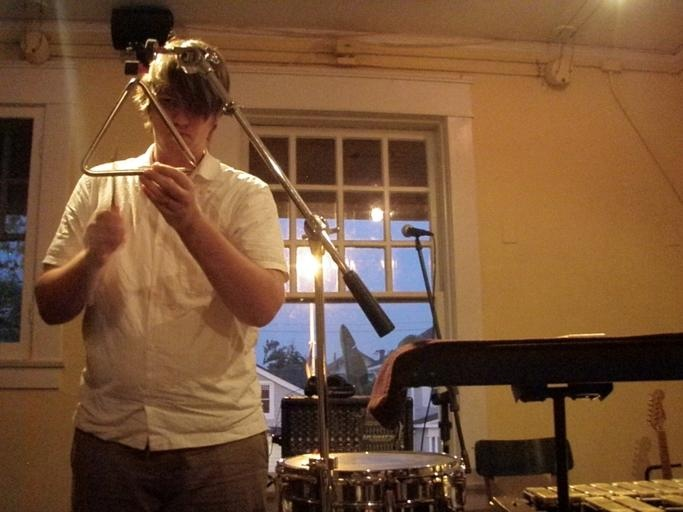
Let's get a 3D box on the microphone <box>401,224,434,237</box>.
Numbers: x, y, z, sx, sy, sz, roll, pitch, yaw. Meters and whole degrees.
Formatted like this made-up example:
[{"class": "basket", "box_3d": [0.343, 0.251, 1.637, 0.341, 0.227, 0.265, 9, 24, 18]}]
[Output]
[{"class": "microphone", "box_3d": [0.450, -0.135, 4.162, 0.236, 0.082, 0.082, 3, -1, -12]}]
